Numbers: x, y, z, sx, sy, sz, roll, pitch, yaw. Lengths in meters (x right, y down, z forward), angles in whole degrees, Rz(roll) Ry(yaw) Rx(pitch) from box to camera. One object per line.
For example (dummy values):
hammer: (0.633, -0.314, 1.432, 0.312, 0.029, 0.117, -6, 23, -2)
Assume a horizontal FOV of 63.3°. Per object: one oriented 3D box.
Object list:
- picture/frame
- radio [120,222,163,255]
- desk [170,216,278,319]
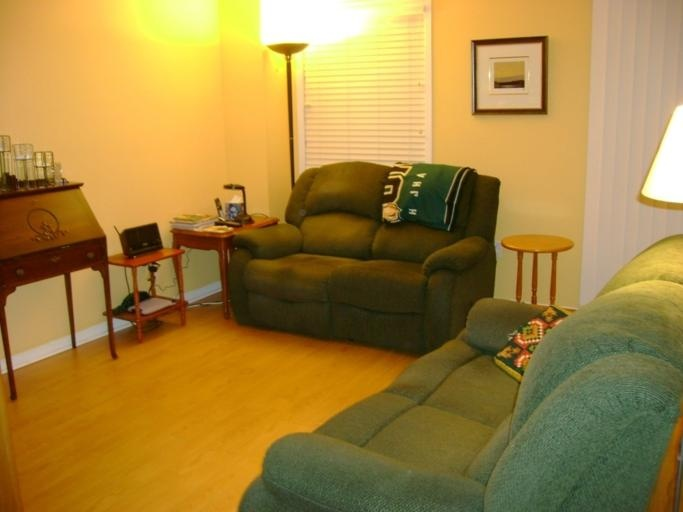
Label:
picture/frame: (1.309, -1.400, 4.243, 0.669, 0.622, 0.068, 4, 13, 26)
radio: (-1.565, -0.125, 4.271, 0.121, 0.225, 0.348, 1, 13, 25)
desk: (-1.039, -0.095, 4.981, 0.808, 0.950, 1.061, 7, 15, 27)
